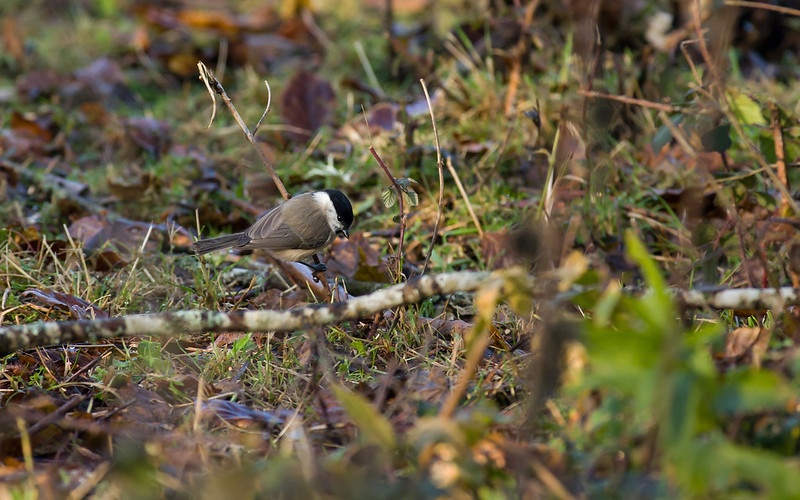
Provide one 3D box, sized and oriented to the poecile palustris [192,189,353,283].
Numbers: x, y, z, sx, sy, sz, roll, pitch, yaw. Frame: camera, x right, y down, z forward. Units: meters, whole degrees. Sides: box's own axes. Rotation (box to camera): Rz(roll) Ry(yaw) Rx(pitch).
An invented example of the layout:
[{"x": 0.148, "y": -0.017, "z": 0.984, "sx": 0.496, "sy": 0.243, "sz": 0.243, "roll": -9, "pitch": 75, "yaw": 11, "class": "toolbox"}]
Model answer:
[{"x": -0.697, "y": -0.115, "z": 4.781, "sx": 1.247, "sy": 0.419, "sz": 0.559, "roll": -1, "pitch": 97, "yaw": -11, "class": "poecile palustris"}]
